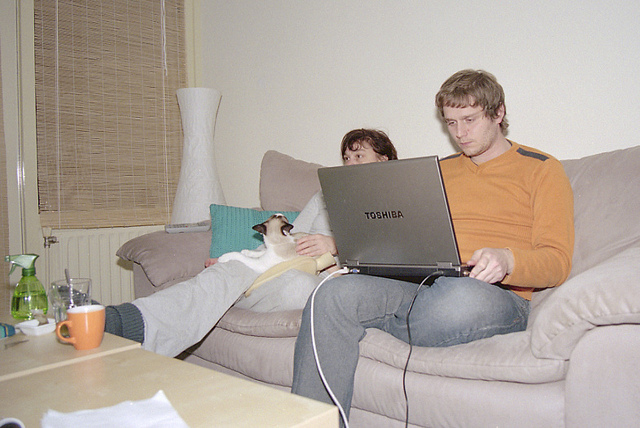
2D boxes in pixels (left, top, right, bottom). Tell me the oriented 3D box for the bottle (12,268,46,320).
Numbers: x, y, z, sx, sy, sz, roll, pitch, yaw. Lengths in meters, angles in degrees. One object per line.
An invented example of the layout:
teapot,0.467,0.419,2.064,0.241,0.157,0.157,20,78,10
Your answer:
bottle,-1.082,0.288,1.800,0.115,0.189,0.125,-2,1,0

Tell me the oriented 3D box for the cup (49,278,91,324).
cup,-0.858,0.316,1.670,0.114,0.164,0.170,0,11,-34

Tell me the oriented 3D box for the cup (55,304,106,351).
cup,-0.758,0.372,1.535,0.153,0.107,0.098,3,-13,-29

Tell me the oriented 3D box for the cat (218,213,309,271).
cat,-0.263,0.128,2.274,0.339,0.177,0.257,-9,12,4

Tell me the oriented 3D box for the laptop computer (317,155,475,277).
laptop computer,0.356,-0.014,1.862,0.546,0.434,0.476,-4,12,36
